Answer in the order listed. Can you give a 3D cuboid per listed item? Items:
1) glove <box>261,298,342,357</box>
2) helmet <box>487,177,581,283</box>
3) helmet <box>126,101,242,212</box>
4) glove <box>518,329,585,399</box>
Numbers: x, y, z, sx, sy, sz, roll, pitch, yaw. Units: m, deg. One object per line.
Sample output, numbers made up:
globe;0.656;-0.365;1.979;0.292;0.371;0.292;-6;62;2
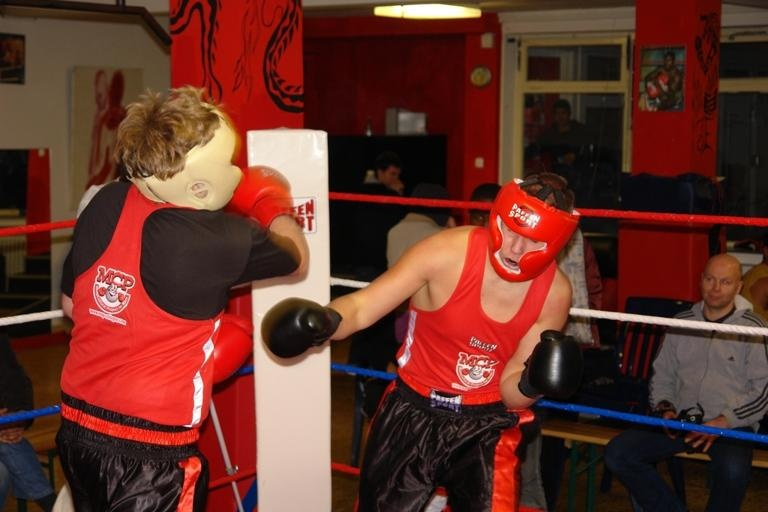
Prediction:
glove;-0.245;0.217;2.052;0.205;0.154;0.160;-6;-8;-12
helmet;0.474;-0.113;2.322;0.260;0.290;0.329;34;33;18
helmet;-0.580;-0.296;2.098;0.297;0.290;0.239;-21;39;-19
glove;0.531;0.373;2.250;0.161;0.228;0.219;28;-26;-27
